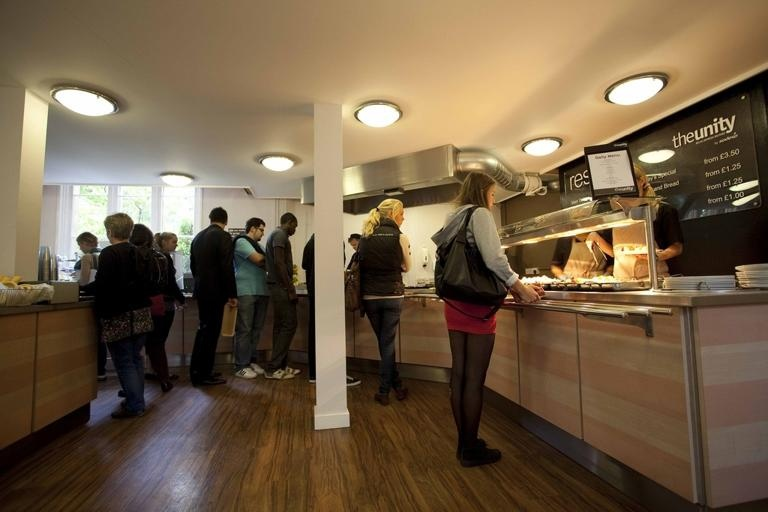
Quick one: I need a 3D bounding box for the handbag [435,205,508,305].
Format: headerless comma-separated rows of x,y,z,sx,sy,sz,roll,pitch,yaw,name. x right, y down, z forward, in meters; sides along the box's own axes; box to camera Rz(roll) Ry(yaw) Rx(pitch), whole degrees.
0.607,0.016,3.551,0.584,0.731,0.331,4,11,23,handbag

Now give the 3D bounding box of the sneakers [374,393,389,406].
-0.014,1.377,4.628,0.063,0.078,0.163,0,3,-18,sneakers

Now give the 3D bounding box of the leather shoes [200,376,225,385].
-1.871,1.364,5.288,0.250,0.092,0.096,-2,2,-17,leather shoes

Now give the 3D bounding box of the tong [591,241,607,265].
1.748,-0.027,3.920,0.030,0.223,0.087,-23,-28,-15,tong

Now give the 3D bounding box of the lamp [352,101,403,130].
-0.054,-1.436,4.904,0.505,0.221,0.457,-3,11,-10,lamp

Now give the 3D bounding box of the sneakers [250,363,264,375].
-1.475,1.342,5.721,0.208,0.083,0.089,8,-6,26,sneakers

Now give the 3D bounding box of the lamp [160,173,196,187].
-2.872,-1.066,6.734,0.426,0.198,0.458,-6,12,-23,lamp

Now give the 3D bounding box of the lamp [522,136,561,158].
1.906,-1.334,5.880,0.479,0.198,0.452,7,14,34,lamp

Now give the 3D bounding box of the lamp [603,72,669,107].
2.443,-1.580,4.701,0.574,0.139,0.587,-4,-12,16,lamp

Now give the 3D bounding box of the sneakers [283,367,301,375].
-1.043,1.324,5.527,0.201,0.082,0.069,3,-2,-14,sneakers

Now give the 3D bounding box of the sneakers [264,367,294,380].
-1.188,1.330,5.468,0.347,0.150,0.125,1,-7,-12,sneakers

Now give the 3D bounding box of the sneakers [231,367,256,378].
-1.582,1.333,5.478,0.252,0.111,0.102,-2,-10,21,sneakers

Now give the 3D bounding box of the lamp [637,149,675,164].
3.026,-1.105,5.348,0.224,0.060,0.226,0,1,1,lamp

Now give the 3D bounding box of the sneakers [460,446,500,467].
0.702,1.476,3.607,0.346,0.138,0.118,-5,4,-10,sneakers

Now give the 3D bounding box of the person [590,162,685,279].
2.042,-0.233,3.912,0.588,0.965,1.246,6,13,34,person

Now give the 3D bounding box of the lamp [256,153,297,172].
-1.346,-1.186,6.098,0.477,0.181,0.386,-4,12,-13,lamp
